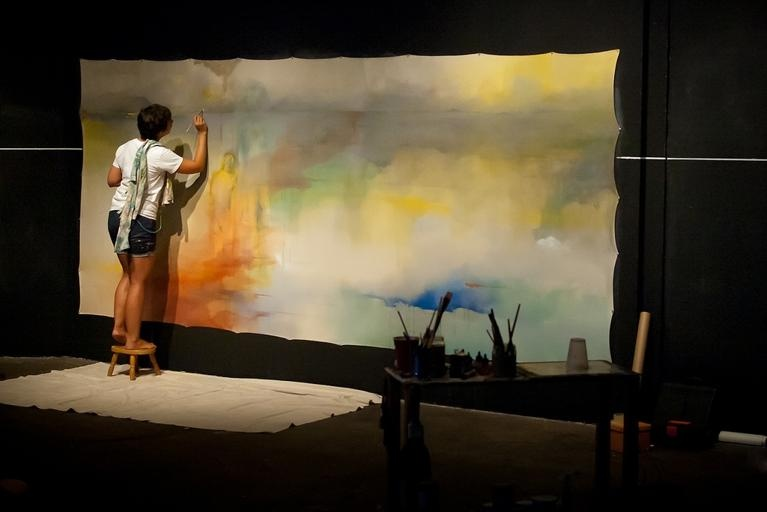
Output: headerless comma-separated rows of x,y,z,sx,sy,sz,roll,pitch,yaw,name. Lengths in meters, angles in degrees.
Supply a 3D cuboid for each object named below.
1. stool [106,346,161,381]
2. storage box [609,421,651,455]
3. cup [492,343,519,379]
-2.240,0.941,6.993,0.455,0.280,0.462,2,0,-22,stool
1.834,1.344,5.828,0.313,0.198,0.312,2,-3,-31,storage box
0.783,0.691,5.162,0.182,0.218,0.188,-1,-1,0,cup
